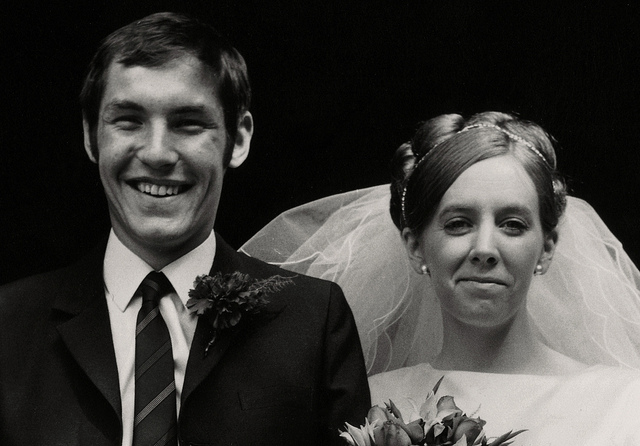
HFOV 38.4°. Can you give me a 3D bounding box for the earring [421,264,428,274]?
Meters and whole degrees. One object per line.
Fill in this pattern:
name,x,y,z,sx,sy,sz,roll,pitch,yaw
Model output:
earring,0.617,0.271,5.474,0.042,0.048,0.030,-7,-20,32
